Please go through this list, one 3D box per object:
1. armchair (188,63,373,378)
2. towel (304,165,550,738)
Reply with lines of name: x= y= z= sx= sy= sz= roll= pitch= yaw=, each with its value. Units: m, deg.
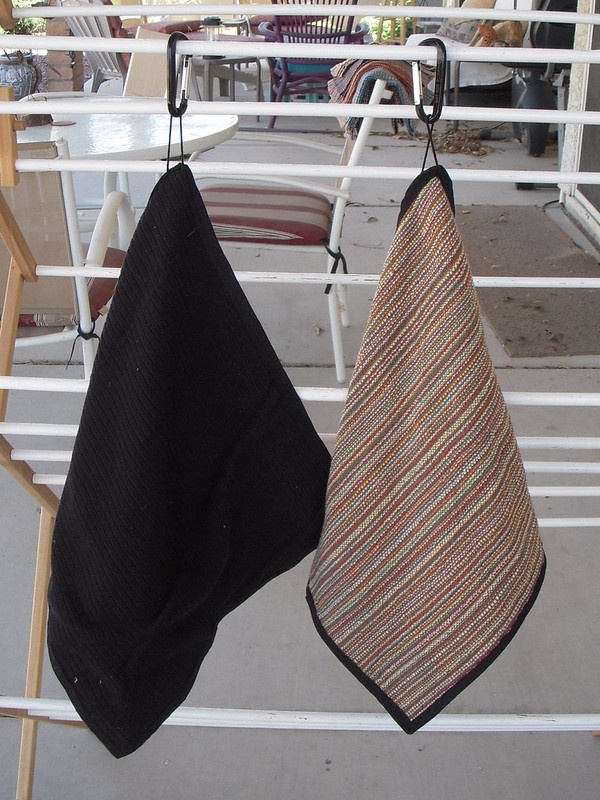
armchair: x=-0.054 y=-0.432 z=2.193 sx=0.514 sy=0.646 sz=0.414 roll=3 pitch=20 yaw=1
towel: x=0.104 y=0.068 z=0.733 sx=0.113 sy=0.494 sz=0.137 roll=-22 pitch=35 yaw=-34
